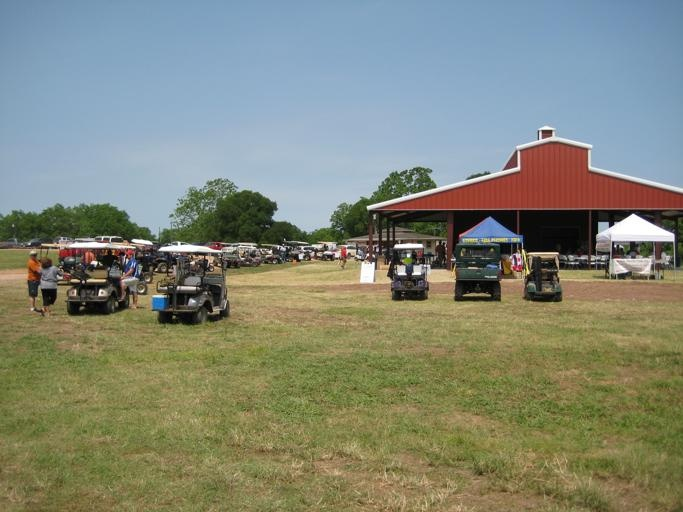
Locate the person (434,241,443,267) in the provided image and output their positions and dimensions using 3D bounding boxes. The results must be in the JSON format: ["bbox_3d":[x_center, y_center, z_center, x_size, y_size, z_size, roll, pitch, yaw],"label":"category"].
[{"bbox_3d":[6.581,-0.015,41.842,0.541,1.475,1.244,2,12,6],"label":"person"}]

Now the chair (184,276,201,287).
[{"bbox_3d":[-3.662,0.629,15.281,0.400,0.218,0.213,-2,13,-14],"label":"chair"}]

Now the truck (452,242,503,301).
[{"bbox_3d":[4.543,0.470,21.335,1.171,1.395,2.178,0,5,6],"label":"truck"}]

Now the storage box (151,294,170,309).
[{"bbox_3d":[-4.430,1.161,15.211,0.342,0.371,0.380,-1,13,-12],"label":"storage box"}]

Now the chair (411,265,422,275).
[{"bbox_3d":[2.534,0.498,21.124,0.286,0.276,0.294,4,11,28],"label":"chair"}]

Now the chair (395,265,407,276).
[{"bbox_3d":[2.000,0.488,21.198,0.336,0.306,0.514,1,12,-3],"label":"chair"}]

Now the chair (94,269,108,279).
[{"bbox_3d":[-6.471,0.495,16.685,0.392,0.215,0.266,-3,1,-3],"label":"chair"}]
